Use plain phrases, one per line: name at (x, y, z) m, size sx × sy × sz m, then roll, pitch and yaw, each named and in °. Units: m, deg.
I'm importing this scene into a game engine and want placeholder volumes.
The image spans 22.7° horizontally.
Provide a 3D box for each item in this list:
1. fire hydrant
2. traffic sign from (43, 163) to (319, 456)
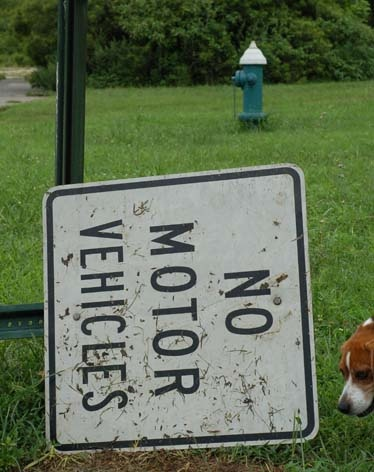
fire hydrant at (0.659, -1.663, 10.112) m, size 0.361 × 0.854 × 0.386 m, roll 0°, pitch 13°, yaw 2°
traffic sign at (-0.024, 0.433, 4.869) m, size 0.843 × 1.512 × 0.079 m, roll 0°, pitch -5°, yaw 0°
